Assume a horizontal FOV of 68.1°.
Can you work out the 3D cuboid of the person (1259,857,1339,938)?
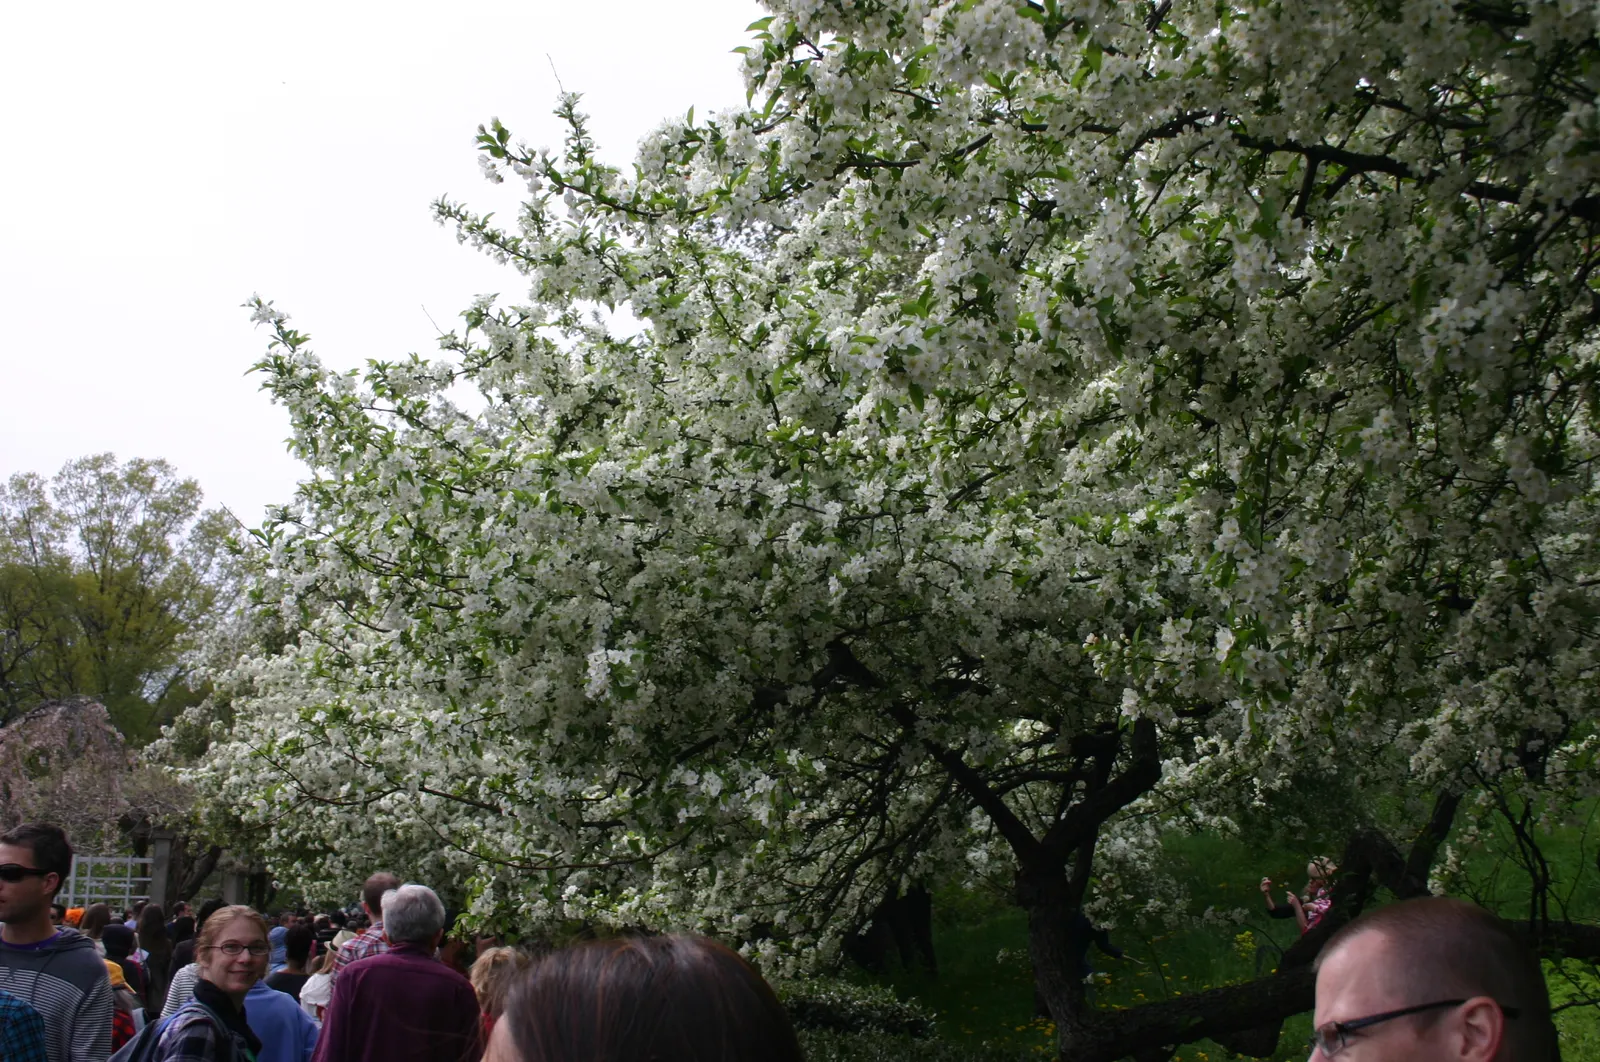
[{"bbox_3d":[5.826,4.524,14.151,0.402,0.871,0.537,-30,-3,40],"label":"person"}]

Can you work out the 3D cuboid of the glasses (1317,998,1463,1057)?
[{"bbox_3d":[1.565,1.338,3.199,0.234,0.062,0.222,-19,-12,3],"label":"glasses"}]
